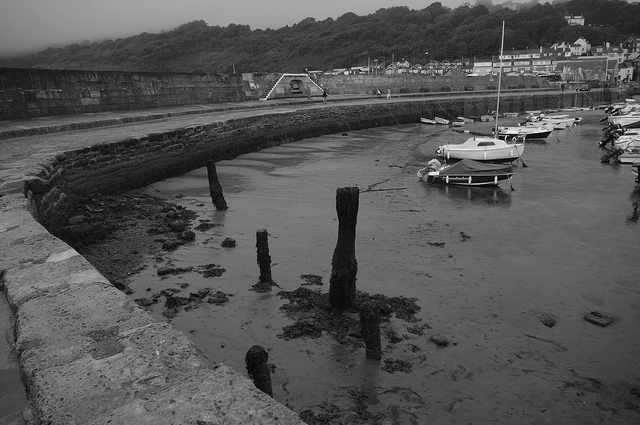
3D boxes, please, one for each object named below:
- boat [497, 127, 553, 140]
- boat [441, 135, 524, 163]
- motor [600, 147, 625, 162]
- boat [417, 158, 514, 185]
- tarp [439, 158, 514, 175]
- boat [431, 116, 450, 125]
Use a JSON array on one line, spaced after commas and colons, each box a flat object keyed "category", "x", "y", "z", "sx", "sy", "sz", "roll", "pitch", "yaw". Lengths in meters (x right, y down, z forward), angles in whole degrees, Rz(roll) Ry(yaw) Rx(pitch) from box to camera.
[{"category": "boat", "x": 14.395, "y": -5.507, "z": 32.179, "sx": 3.830, "sy": 0.839, "sz": 1.290, "roll": 1, "pitch": 19, "yaw": 6}, {"category": "boat", "x": 8.556, "y": -3.247, "z": 24.052, "sx": 4.446, "sy": 1.432, "sz": 1.750, "roll": 3, "pitch": 19, "yaw": 17}, {"category": "motor", "x": 15.047, "y": -2.995, "z": 23.718, "sx": 1.116, "sy": 0.390, "sz": 0.614, "roll": -24, "pitch": 27, "yaw": 30}, {"category": "boat", "x": 6.185, "y": -1.715, "z": 19.781, "sx": 4.140, "sy": 1.161, "sz": 1.523, "roll": 3, "pitch": 26, "yaw": 7}, {"category": "tarp", "x": 7.129, "y": -2.040, "z": 20.648, "sx": 3.763, "sy": 0.781, "sz": 0.973, "roll": -1, "pitch": 29, "yaw": 5}, {"category": "boat", "x": 10.700, "y": -8.117, "z": 41.079, "sx": 1.532, "sy": 0.543, "sz": 1.323, "roll": 1, "pitch": 19, "yaw": 12}]
